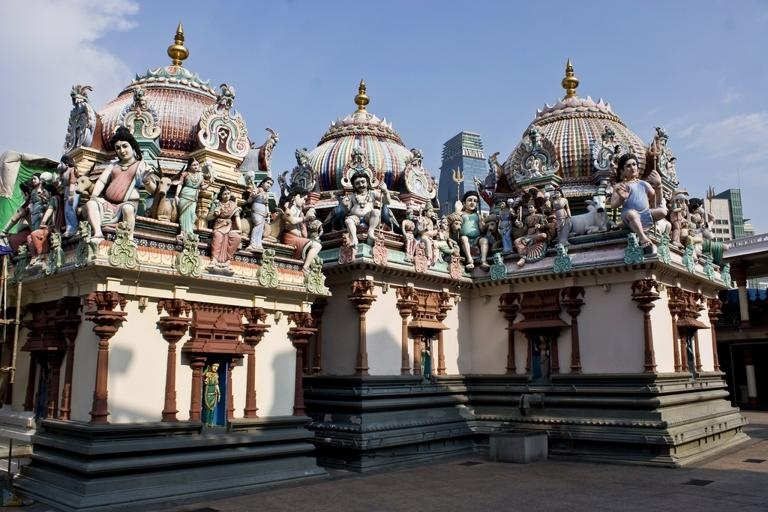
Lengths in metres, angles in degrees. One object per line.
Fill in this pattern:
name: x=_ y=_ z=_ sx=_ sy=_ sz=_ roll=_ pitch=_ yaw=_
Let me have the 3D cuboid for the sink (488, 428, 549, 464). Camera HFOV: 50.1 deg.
sink: x=4.316 y=6.015 z=25.955 sx=1.812 sy=0.916 sz=1.062 roll=1 pitch=1 yaw=-2
